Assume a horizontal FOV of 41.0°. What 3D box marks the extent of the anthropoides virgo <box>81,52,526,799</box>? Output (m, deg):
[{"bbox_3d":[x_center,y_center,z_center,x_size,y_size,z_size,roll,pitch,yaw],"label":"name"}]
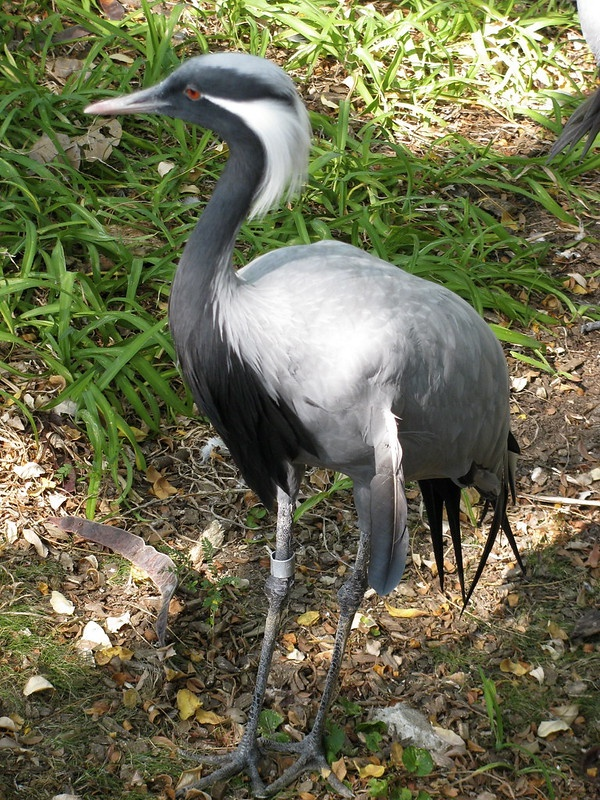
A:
[{"bbox_3d":[0.073,0.137,2.132,0.624,1.983,1.007,6,30,27],"label":"anthropoides virgo"}]
